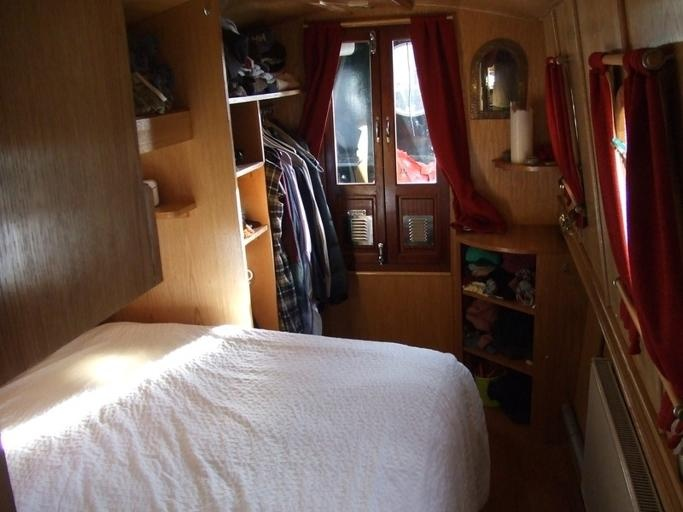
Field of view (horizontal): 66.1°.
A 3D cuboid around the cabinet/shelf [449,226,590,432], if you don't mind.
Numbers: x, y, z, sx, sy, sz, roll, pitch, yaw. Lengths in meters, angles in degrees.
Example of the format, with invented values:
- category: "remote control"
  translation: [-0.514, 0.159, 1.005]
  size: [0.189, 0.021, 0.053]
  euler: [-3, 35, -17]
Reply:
- category: "cabinet/shelf"
  translation: [1.011, 0.400, 2.900]
  size: [0.504, 1.094, 0.811]
  euler: [-11, 19, -22]
